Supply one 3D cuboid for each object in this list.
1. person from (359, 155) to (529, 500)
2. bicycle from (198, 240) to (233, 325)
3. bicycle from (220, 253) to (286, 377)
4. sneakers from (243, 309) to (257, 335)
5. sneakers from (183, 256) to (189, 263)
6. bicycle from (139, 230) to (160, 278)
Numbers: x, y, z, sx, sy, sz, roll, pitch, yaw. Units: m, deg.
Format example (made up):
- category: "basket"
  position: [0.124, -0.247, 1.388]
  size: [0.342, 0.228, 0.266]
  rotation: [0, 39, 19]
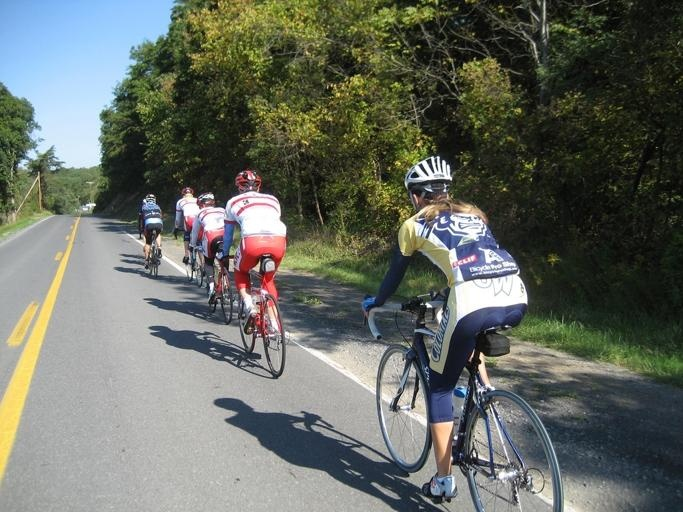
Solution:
- category: "person"
  position: [1.011, 0.740, 5.188]
  size: [1.220, 3.215, 0.650]
  rotation: [8, 12, 38]
- category: "bicycle"
  position: [-2.289, 0.557, 10.812]
  size: [0.753, 0.985, 1.498]
  rotation: [-3, 30, -23]
- category: "bicycle"
  position: [-1.145, 0.761, 8.327]
  size: [0.491, 1.650, 1.667]
  rotation: [-3, 11, -18]
- category: "sneakers"
  position: [-1.358, 0.991, 8.444]
  size: [0.196, 0.459, 0.137]
  rotation: [-3, 28, -33]
- category: "sneakers"
  position: [-3.811, 0.101, 14.019]
  size: [0.106, 0.142, 0.190]
  rotation: [1, -5, -12]
- category: "bicycle"
  position: [-5.162, -0.025, 15.700]
  size: [0.587, 0.814, 1.291]
  rotation: [0, 25, -22]
